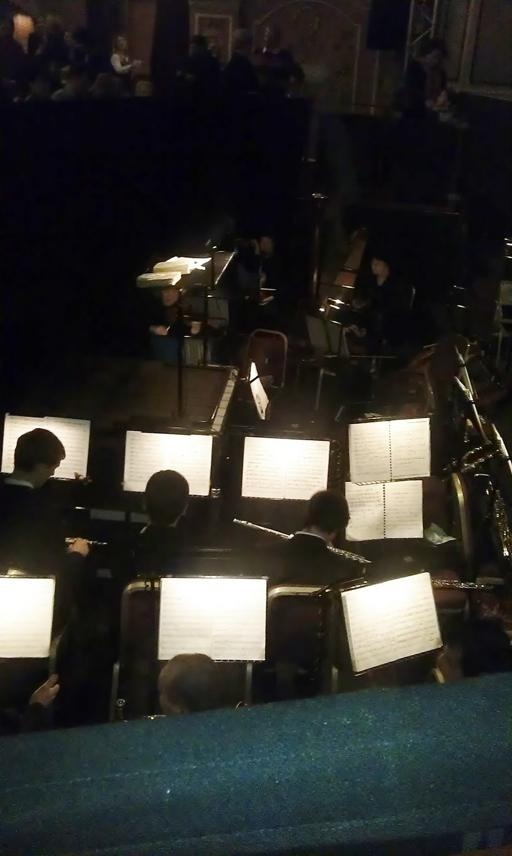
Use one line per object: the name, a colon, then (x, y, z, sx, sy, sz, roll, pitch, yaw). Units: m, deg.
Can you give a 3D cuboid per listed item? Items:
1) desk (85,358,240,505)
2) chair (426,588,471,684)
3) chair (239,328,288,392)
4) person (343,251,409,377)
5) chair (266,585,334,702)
desk: (-0.747, 0.095, 5.265, 0.903, 0.993, 0.707, 3, -21, 2)
chair: (1.088, 1.307, 4.097, 0.163, 0.600, 0.136, -8, -5, -8)
chair: (0.074, -0.647, 6.380, 0.447, 0.532, 0.391, 2, 20, 2)
person: (1.265, -1.196, 7.146, 0.753, 1.113, 0.284, 4, -3, -25)
chair: (0.226, 1.068, 3.399, 0.346, 0.487, 0.352, 2, 20, 1)
